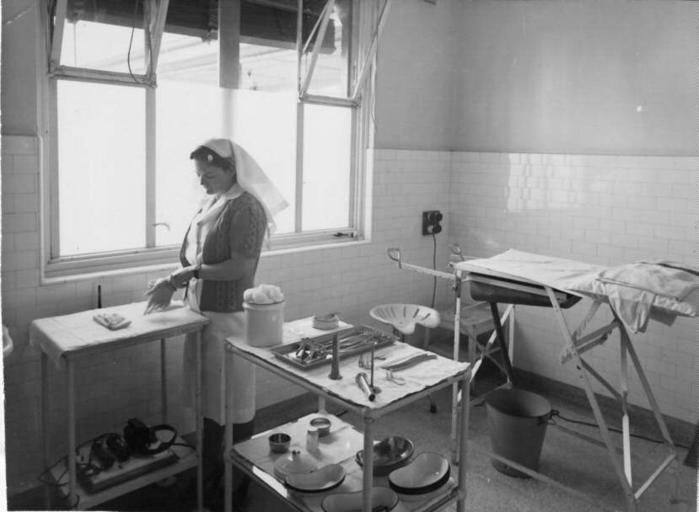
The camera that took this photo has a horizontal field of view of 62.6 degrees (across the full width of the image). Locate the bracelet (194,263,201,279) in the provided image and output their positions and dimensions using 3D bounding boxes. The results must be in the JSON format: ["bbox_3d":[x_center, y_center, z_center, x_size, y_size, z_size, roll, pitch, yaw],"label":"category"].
[{"bbox_3d":[-0.735,0.074,2.770,0.031,0.055,0.080,-3,13,-12],"label":"bracelet"}]

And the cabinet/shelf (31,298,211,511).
[{"bbox_3d":[-1.102,0.635,3.012,1.022,1.234,0.697,-2,4,-39],"label":"cabinet/shelf"}]

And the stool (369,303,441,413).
[{"bbox_3d":[0.249,0.418,2.924,0.261,0.391,0.211,-10,11,-36],"label":"stool"}]

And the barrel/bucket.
[{"bbox_3d":[0.829,0.890,2.999,0.370,0.363,0.408,6,22,4],"label":"barrel/bucket"}]

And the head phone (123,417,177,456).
[{"bbox_3d":[-0.962,0.867,2.758,0.172,0.094,0.189,9,5,38],"label":"head phone"}]

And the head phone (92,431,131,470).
[{"bbox_3d":[-1.099,0.889,2.646,0.145,0.063,0.148,8,45,-13],"label":"head phone"}]

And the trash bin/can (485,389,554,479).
[{"bbox_3d":[0.811,0.884,3.033,0.369,0.370,0.410,6,22,4],"label":"trash bin/can"}]
